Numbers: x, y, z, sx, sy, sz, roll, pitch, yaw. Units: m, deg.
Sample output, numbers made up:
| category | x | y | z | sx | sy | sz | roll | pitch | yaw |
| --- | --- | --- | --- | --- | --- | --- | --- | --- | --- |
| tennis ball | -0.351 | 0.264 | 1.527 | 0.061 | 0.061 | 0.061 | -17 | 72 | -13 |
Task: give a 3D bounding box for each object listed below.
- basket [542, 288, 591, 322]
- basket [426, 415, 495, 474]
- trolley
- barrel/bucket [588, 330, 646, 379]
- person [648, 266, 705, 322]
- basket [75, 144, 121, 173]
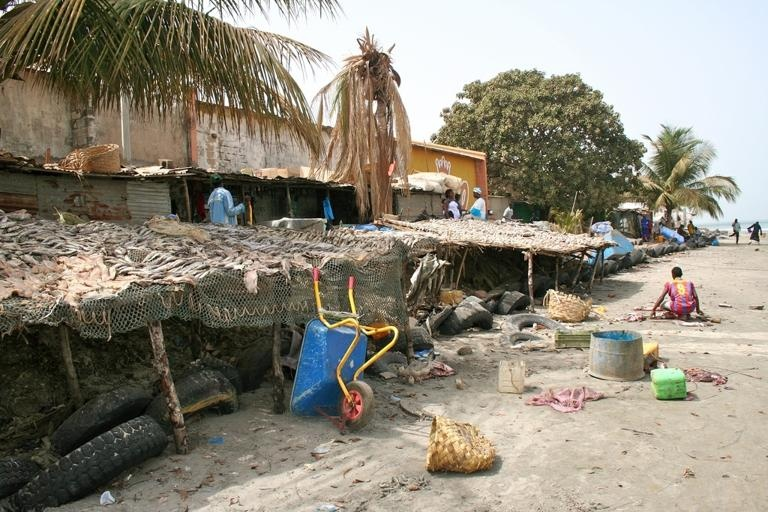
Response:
| category | x | y | z | sx | sy | sz | roll | pitch | yaw |
| --- | --- | --- | --- | --- | --- | --- | --- | --- | --- |
| basket | 4.911 | 1.317 | 15.352 | 1.068 | 0.588 | 0.861 | 7 | 1 | 13 |
| basket | 1.028 | 2.518 | 7.879 | 0.975 | 0.686 | 0.539 | -1 | 5 | -24 |
| trolley | -0.732 | 1.302 | 8.988 | 1.488 | 2.499 | 1.962 | 0 | -1 | -7 |
| barrel/bucket | 4.326 | 1.752 | 10.668 | 1.027 | 0.849 | 0.896 | -3 | 3 | -43 |
| person | 7.440 | 0.984 | 14.234 | 1.223 | 1.485 | 1.409 | -2 | -1 | 4 |
| basket | -6.945 | -2.375 | 14.048 | 0.867 | 0.521 | 0.829 | -1 | 12 | -12 |
